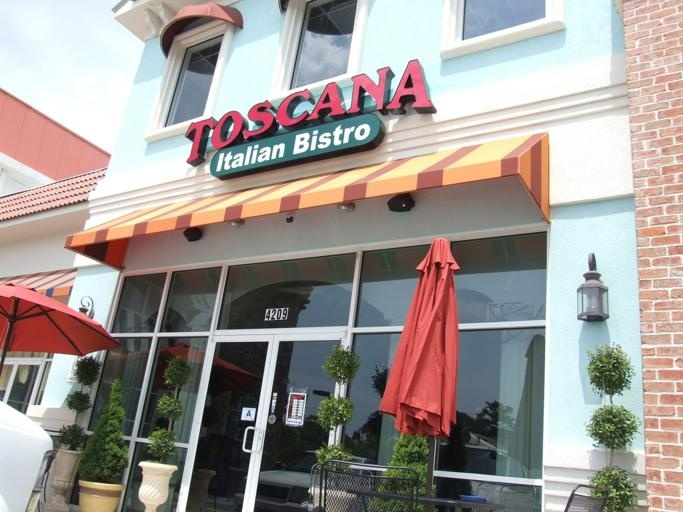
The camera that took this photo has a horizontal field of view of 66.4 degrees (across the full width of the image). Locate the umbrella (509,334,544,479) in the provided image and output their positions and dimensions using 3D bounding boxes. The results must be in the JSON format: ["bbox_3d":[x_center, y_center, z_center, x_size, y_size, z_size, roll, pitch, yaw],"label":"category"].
[{"bbox_3d":[2.815,2.204,7.842,0.465,2.108,0.263,-3,-25,23],"label":"umbrella"}]

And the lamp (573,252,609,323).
[{"bbox_3d":[3.643,0.431,7.611,0.431,1.001,0.358,-4,-25,26],"label":"lamp"}]

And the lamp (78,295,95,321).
[{"bbox_3d":[-6.149,1.262,12.613,0.362,0.631,0.458,-8,-14,15],"label":"lamp"}]
